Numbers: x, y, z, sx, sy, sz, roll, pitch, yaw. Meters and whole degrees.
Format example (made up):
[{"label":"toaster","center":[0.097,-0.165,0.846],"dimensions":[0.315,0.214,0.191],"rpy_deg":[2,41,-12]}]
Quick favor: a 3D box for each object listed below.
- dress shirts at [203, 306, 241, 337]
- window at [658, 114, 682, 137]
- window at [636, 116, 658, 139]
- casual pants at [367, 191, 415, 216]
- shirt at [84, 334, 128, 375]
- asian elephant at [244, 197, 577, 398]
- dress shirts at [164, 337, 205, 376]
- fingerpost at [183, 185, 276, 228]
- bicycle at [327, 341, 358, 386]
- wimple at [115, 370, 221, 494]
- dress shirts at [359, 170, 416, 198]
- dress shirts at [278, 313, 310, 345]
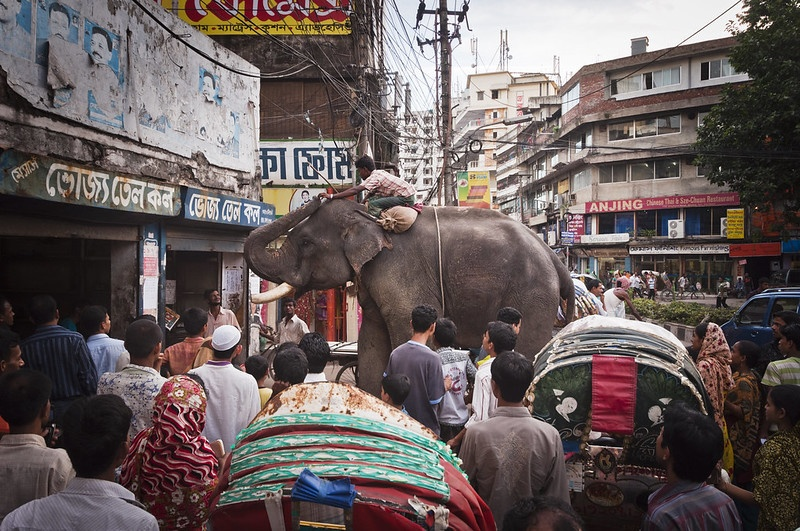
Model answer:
[{"label":"dress shirts","center":[-2.707,0.842,13.107],"dimensions":[0.473,0.443,0.209],"rpy_deg":[1,-7,-10]},{"label":"window","center":[11.750,-6.108,37.805],"dimensions":[0.052,0.755,1.009],"rpy_deg":[-4,6,-37]},{"label":"window","center":[10.979,-6.137,38.599],"dimensions":[0.925,0.843,0.138],"rpy_deg":[-12,-15,42]},{"label":"casual pants","center":[-0.153,-0.893,12.440],"dimensions":[0.496,0.175,0.328],"rpy_deg":[-6,10,1]},{"label":"shirt","center":[-3.800,1.164,11.188],"dimensions":[0.504,0.544,0.277],"rpy_deg":[-6,0,-8]},{"label":"asian elephant","center":[0.146,0.643,12.764],"dimensions":[4.913,3.201,1.469],"rpy_deg":[1,7,0]},{"label":"dress shirts","center":[-2.865,1.231,11.616],"dimensions":[0.494,0.515,0.270],"rpy_deg":[3,5,2]},{"label":"fingerpost","center":[-3.097,-0.990,15.358],"dimensions":[0.397,0.465,3.147],"rpy_deg":[9,2,19]},{"label":"bicycle","center":[-1.104,1.730,15.472],"dimensions":[0.814,0.858,0.629],"rpy_deg":[3,-5,1]},{"label":"wimple","center":[-2.526,1.912,9.765],"dimensions":[0.980,1.432,0.814],"rpy_deg":[2,-1,17]},{"label":"dress shirts","center":[-0.154,-1.157,12.527],"dimensions":[0.551,0.213,0.398],"rpy_deg":[10,1,5]},{"label":"dress shirts","center":[-1.847,1.096,14.875],"dimensions":[0.599,0.540,0.240],"rpy_deg":[0,-14,28]}]
